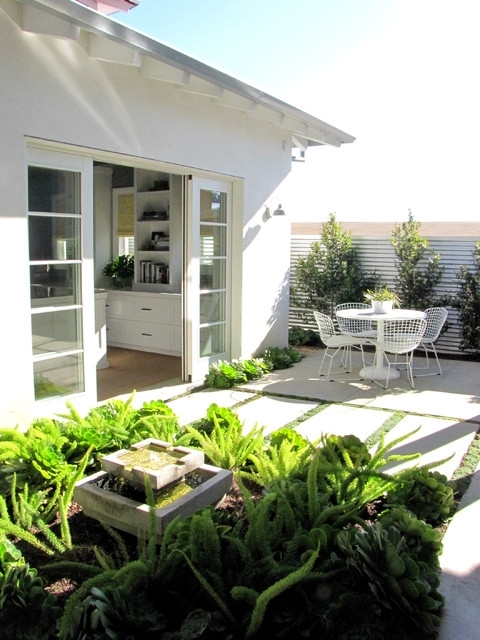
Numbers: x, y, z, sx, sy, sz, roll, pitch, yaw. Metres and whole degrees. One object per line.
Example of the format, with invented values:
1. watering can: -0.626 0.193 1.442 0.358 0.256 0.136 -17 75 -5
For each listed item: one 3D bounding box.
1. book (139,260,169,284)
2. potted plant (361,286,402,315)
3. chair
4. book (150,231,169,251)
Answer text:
1. book: -1.319 -0.728 7.480 0.492 0.350 0.481 4 4 18
2. potted plant: 1.678 -0.232 5.794 0.331 0.296 0.364 4 4 29
3. chair: 1.704 0.184 5.751 1.240 0.628 1.214 -1 7 -14
4. book: -1.226 -1.218 7.488 0.315 0.305 0.073 4 9 37
